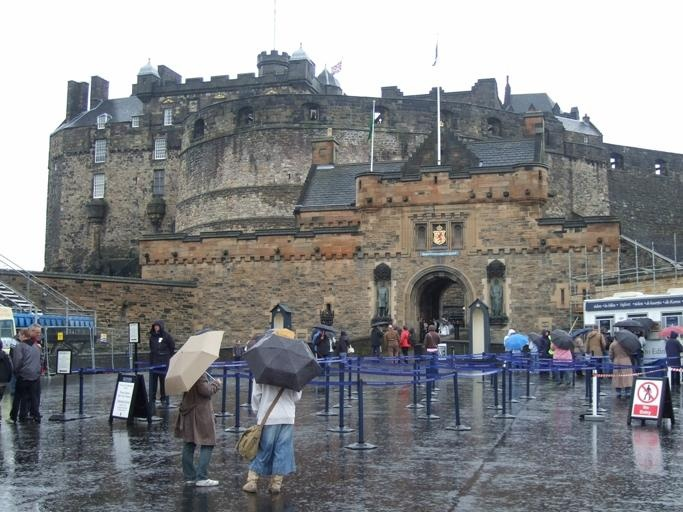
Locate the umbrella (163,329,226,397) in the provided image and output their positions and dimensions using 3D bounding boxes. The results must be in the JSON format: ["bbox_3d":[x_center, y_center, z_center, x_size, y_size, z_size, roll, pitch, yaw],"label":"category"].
[{"bbox_3d":[-2.574,1.832,18.483,0.970,1.103,0.509,1,-11,-10],"label":"umbrella"}]

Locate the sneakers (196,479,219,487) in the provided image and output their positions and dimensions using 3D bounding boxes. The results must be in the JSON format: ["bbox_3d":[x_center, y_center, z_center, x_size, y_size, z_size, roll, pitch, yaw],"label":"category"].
[{"bbox_3d":[-2.337,3.990,18.469,0.390,0.149,0.143,-1,-1,-3],"label":"sneakers"}]

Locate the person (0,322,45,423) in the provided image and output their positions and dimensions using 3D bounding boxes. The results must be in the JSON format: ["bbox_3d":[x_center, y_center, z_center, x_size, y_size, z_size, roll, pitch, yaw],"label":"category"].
[{"bbox_3d":[-6.993,2.642,23.442,0.710,2.130,0.619,2,-12,-17],"label":"person"}]

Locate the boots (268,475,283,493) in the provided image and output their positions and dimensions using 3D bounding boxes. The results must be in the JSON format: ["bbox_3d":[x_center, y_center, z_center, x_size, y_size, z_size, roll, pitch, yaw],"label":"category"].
[{"bbox_3d":[-1.125,3.967,18.254,0.216,0.317,0.227,1,-11,-9],"label":"boots"}]

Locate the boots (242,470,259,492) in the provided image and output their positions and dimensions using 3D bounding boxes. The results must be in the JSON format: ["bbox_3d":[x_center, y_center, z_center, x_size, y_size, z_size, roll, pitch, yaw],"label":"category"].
[{"bbox_3d":[-1.588,3.950,18.398,0.269,0.364,0.528,0,-11,-4],"label":"boots"}]

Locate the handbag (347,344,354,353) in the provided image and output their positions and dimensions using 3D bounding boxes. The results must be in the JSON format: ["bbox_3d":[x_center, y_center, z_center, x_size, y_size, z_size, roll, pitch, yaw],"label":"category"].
[{"bbox_3d":[0.382,3.369,37.911,0.262,0.415,0.421,0,-10,-3],"label":"handbag"}]
